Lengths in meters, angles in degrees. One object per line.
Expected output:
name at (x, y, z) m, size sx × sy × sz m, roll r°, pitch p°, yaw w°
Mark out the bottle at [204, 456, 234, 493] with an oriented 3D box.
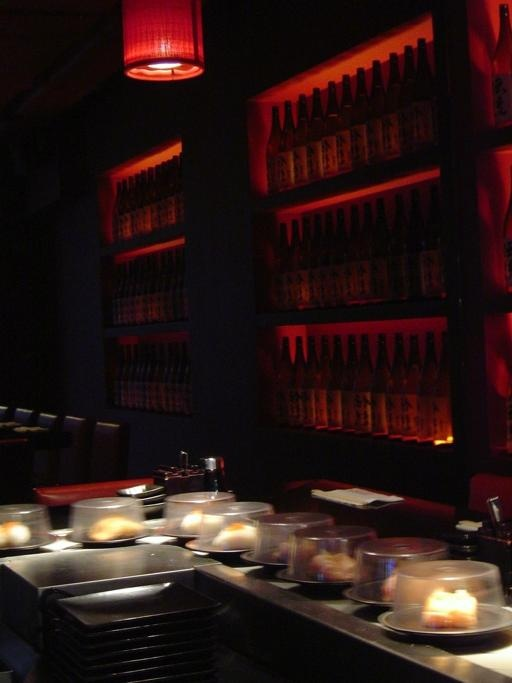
bottle at (-0.109, 0.345, 1.491) m, size 0.074 × 0.111 × 0.072 m, roll -4°, pitch -9°, yaw -1°
